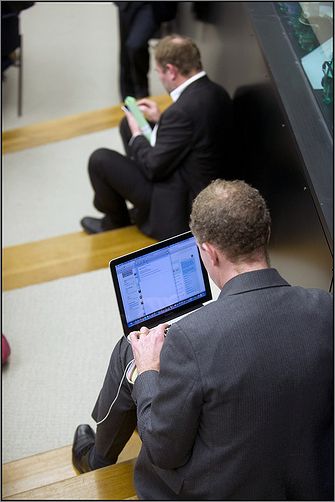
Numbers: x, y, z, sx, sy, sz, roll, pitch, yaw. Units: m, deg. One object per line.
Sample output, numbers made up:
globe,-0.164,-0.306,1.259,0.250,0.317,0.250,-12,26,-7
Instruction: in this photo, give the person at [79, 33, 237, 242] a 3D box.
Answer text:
person,-0.125,-0.589,2.347,0.805,1.357,0.595,17,38,9

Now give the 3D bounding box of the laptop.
laptop,-0.027,0.074,1.042,0.319,0.292,0.254,-15,77,-14
